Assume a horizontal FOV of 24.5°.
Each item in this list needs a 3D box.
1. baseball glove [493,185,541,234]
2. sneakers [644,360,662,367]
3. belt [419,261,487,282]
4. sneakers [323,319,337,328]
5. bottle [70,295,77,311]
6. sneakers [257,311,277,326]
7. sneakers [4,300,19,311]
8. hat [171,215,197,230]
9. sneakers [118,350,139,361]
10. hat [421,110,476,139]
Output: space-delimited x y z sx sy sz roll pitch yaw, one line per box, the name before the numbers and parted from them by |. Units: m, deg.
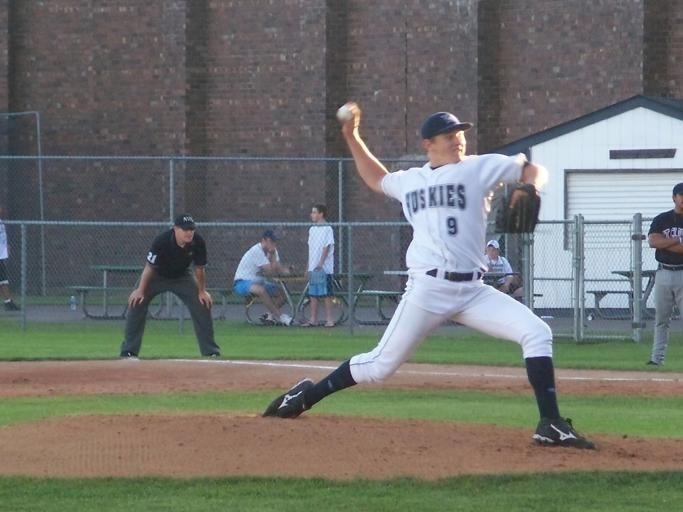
baseball glove | 2.767 -0.760 24.189 0.666 0.746 0.340 3 0 9
sneakers | 5.749 1.934 28.541 0.286 0.122 0.099 5 4 37
belt | 1.792 0.281 24.263 0.926 0.212 0.215 3 0 -1
sneakers | -0.221 1.387 32.736 0.152 0.146 0.351 1 -4 -6
bottle | -6.095 1.048 35.537 0.224 0.253 0.408 0 0 -10
sneakers | -1.525 1.315 33.043 0.467 0.226 0.173 5 1 20
sneakers | -7.227 1.048 34.243 0.275 0.304 0.268 -5 15 -13
hat | -2.838 -0.645 28.080 0.245 0.192 0.334 -3 4 -41
sneakers | -3.836 1.793 28.324 0.414 0.170 0.139 4 7 0
hat | 1.650 -2.074 24.411 0.610 0.331 0.452 -12 4 22
